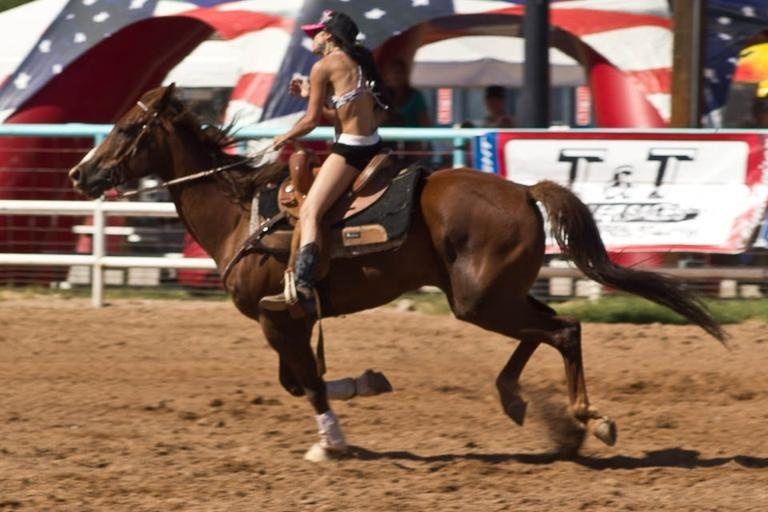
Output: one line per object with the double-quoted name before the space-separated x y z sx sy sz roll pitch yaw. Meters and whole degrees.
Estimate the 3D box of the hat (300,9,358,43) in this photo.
"hat" -0.481 -1.954 11.468 0.497 0.181 0.265 4 -5 -3

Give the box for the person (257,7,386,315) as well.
"person" -0.474 -0.648 11.376 1.059 2.292 0.375 -1 3 -6
